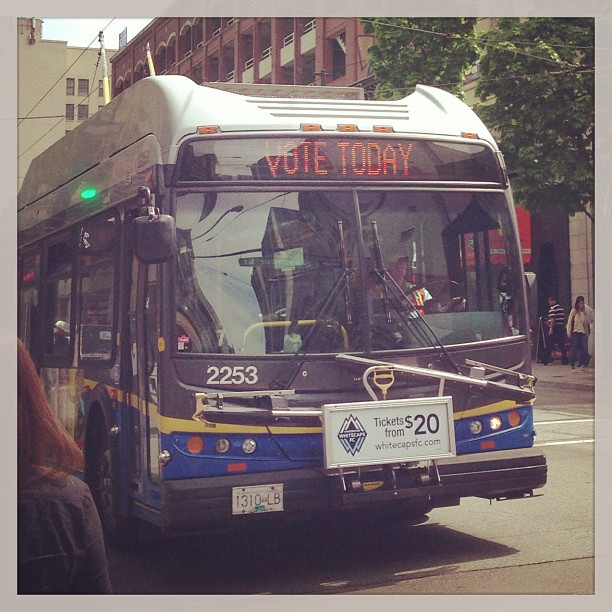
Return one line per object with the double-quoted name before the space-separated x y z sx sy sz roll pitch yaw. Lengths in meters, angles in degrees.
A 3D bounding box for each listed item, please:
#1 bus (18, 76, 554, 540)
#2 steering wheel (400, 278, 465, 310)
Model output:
"bus" -1.293 0.050 9.279 2.727 3.596 7.966 2 -2 -25
"steering wheel" 0.874 -0.094 6.154 0.472 0.194 0.073 -1 1 -32
